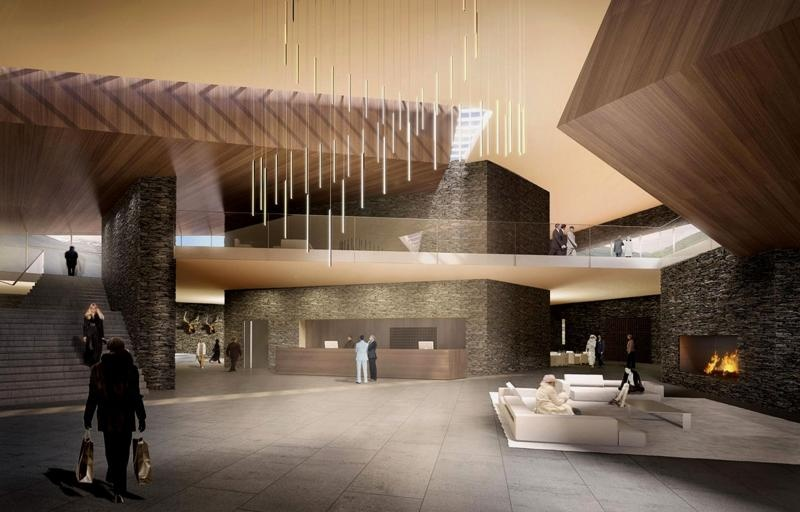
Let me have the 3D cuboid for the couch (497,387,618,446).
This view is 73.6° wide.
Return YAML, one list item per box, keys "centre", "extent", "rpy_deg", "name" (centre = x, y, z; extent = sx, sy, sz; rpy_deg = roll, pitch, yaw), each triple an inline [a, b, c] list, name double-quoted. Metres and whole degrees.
- centre: [3.296, 3.570, 11.284]
  extent: [2.452, 0.642, 1.450]
  rpy_deg: [-4, -10, 28]
  name: "couch"

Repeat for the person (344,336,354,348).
- centre: [-2.232, 3.864, 23.719]
  extent: [0.541, 0.704, 0.997]
  rpy_deg: [1, -10, -3]
  name: "person"

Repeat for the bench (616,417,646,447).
- centre: [4.641, 3.674, 10.769]
  extent: [0.501, 0.355, 0.182]
  rpy_deg: [-1, -8, 7]
  name: "bench"

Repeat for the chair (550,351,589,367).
- centre: [9.669, 5.875, 30.550]
  extent: [0.979, 0.736, 3.391]
  rpy_deg: [-6, -11, 39]
  name: "chair"

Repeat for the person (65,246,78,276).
- centre: [-16.913, 0.258, 27.594]
  extent: [0.512, 1.575, 1.534]
  rpy_deg: [5, -9, -32]
  name: "person"

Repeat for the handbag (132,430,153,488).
- centre: [-4.317, 3.453, 8.987]
  extent: [0.373, 1.150, 0.816]
  rpy_deg: [1, -13, -27]
  name: "handbag"

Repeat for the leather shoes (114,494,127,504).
- centre: [-4.408, 3.833, 8.445]
  extent: [0.137, 0.135, 0.135]
  rpy_deg: [-1, -8, 13]
  name: "leather shoes"

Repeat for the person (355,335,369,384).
- centre: [-1.391, 3.899, 19.959]
  extent: [0.450, 1.607, 0.771]
  rpy_deg: [1, -7, -3]
  name: "person"

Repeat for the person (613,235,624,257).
- centre: [9.036, -0.353, 22.138]
  extent: [0.529, 0.783, 0.147]
  rpy_deg: [4, -8, -25]
  name: "person"

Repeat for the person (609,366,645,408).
- centre: [6.362, 3.640, 15.086]
  extent: [1.093, 1.035, 0.574]
  rpy_deg: [-12, 6, -30]
  name: "person"

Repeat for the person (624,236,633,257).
- centre: [9.479, -0.372, 22.207]
  extent: [0.408, 0.808, 0.123]
  rpy_deg: [2, -7, -14]
  name: "person"
